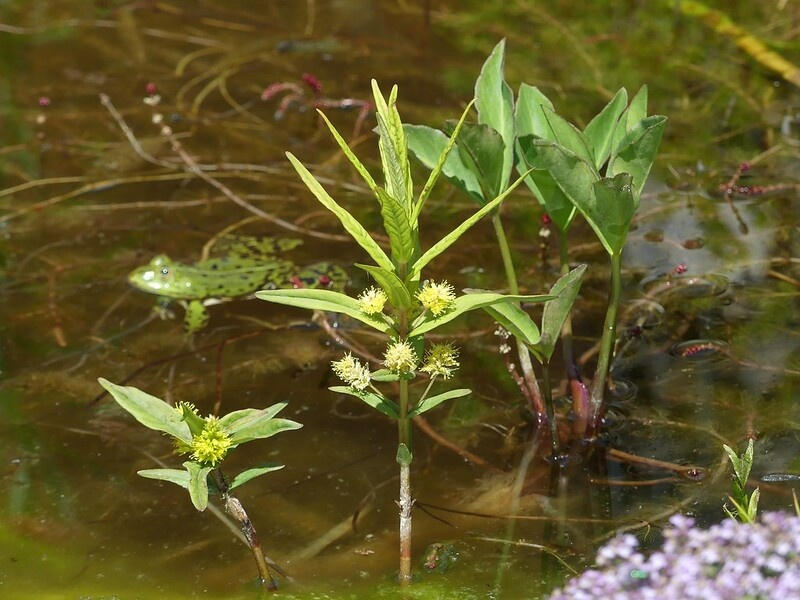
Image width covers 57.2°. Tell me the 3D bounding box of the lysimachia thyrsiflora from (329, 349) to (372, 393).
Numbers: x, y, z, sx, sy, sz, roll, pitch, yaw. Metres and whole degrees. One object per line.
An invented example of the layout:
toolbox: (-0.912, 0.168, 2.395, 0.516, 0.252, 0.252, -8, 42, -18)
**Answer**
lysimachia thyrsiflora: (-0.541, 0.252, 1.734, 0.092, 0.028, 0.101, 27, 29, 21)

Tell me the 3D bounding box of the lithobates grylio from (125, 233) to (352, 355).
lithobates grylio: (-0.645, -0.112, 2.850, 0.652, 0.121, 0.460, -25, 45, -28)

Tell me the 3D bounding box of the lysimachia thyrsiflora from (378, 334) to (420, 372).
lysimachia thyrsiflora: (0.027, 0.125, 1.716, 0.100, 0.072, 0.091, 9, 0, 24)

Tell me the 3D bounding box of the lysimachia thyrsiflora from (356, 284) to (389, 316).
lysimachia thyrsiflora: (-0.066, -0.004, 1.776, 0.096, 0.035, 0.066, 6, 60, 11)

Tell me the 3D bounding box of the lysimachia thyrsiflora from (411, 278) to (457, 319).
lysimachia thyrsiflora: (0.084, -0.007, 1.773, 0.127, 0.058, 0.083, -15, 79, -6)
